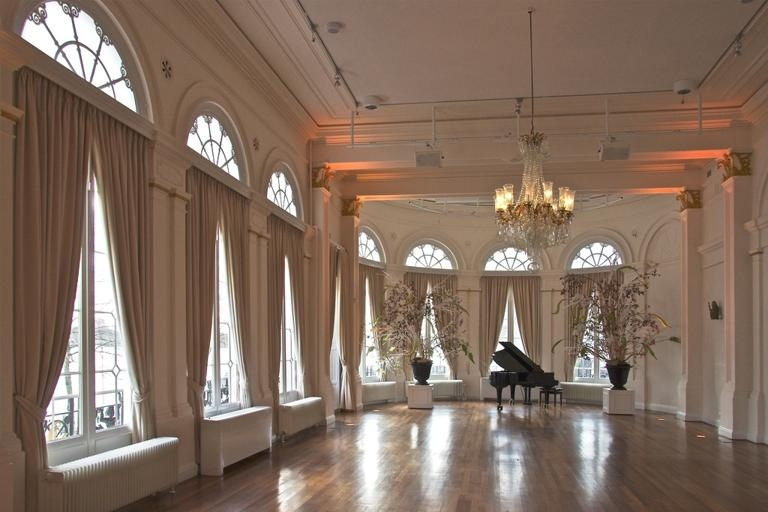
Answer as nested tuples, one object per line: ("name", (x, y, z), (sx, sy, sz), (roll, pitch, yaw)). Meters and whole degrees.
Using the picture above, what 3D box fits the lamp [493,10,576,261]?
("lamp", (2.480, -2.157, 9.219), (1.357, 4.342, 1.390), (1, -3, -19))

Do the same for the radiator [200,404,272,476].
("radiator", (-2.310, 2.923, 8.771), (0.322, 0.823, 1.529), (-2, -7, 18))

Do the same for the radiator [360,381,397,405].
("radiator", (-0.149, 4.081, 16.291), (0.384, 0.593, 1.469), (-2, -6, 33))

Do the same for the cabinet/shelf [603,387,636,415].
("cabinet/shelf", (6.193, 3.808, 14.535), (0.618, 0.639, 0.673), (0, -5, 11))

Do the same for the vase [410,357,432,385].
("vase", (1.018, 3.267, 15.426), (0.656, 0.661, 0.681), (1, -13, 1))

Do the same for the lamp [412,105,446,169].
("lamp", (1.012, -2.426, 11.611), (0.627, 1.223, 0.589), (-2, -6, 43))

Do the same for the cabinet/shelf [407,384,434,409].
("cabinet/shelf", (0.979, 3.888, 15.138), (0.590, 0.621, 0.619), (-1, -9, 5))

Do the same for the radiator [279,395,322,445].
("radiator", (-1.644, 3.179, 10.793), (0.276, 0.655, 1.360), (-1, -6, 22))
